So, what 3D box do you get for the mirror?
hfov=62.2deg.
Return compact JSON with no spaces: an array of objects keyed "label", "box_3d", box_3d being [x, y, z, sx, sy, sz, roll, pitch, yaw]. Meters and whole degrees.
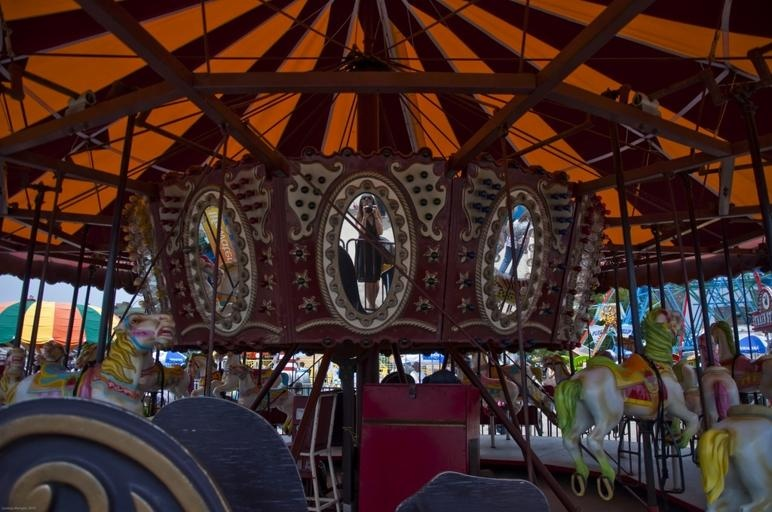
[{"label":"mirror","box_3d":[-0.256,-0.019,9.250,4.198,2.312,0.883,0,-12,-2]}]
